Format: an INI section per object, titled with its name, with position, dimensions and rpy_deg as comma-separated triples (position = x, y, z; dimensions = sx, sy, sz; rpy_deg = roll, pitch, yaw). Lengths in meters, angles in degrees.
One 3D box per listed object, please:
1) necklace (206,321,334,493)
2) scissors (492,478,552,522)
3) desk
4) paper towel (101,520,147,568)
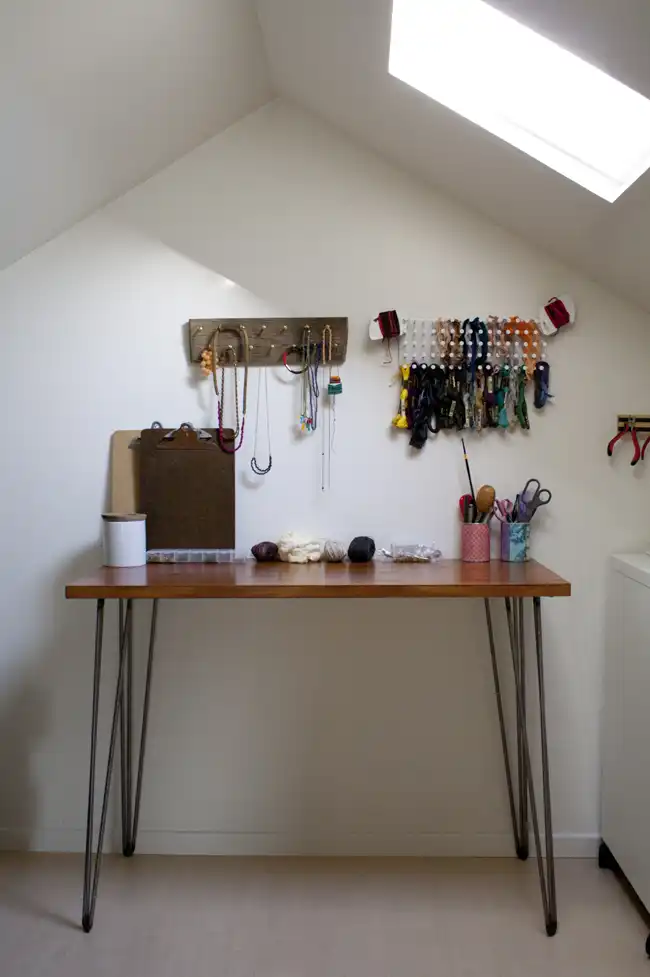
[necklace]
position = -0.165, -0.311, 2.478
dimensions = 0.463, 0.383, 0.087
rpy_deg = 0, 7, -4
[scissors]
position = 0.576, 0.033, 2.463
dimensions = 0.136, 0.125, 0.174
rpy_deg = 6, 9, 37
[desk]
position = -0.010, 0.748, 2.450
dimensions = 1.301, 1.080, 0.695
rpy_deg = 0, 3, 2
[paper towel]
position = -0.543, 0.140, 2.290
dimensions = 0.110, 0.134, 0.121
rpy_deg = 0, 1, -3
